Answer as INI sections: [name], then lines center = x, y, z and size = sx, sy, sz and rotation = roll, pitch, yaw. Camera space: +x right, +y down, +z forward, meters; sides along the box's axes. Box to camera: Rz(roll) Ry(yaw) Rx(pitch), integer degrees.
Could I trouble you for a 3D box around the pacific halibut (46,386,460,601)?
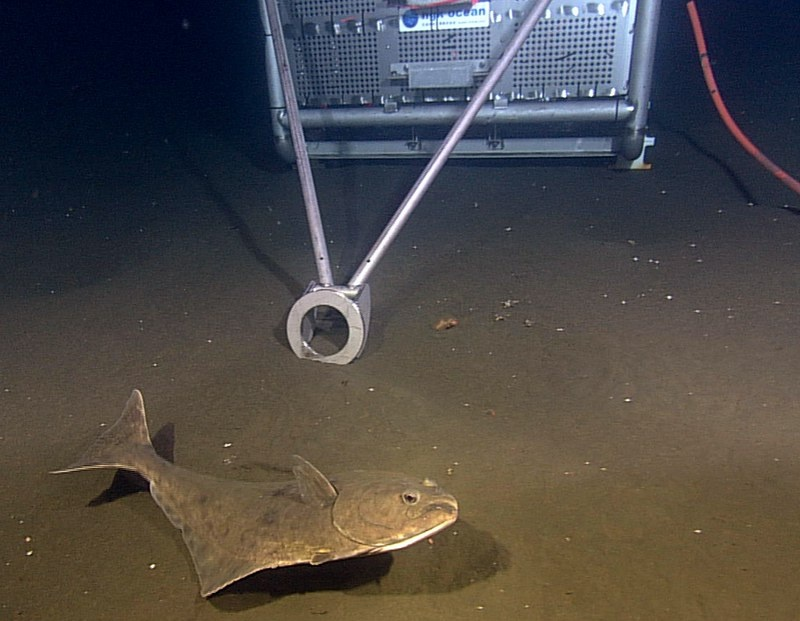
[pacific halibut]
center = -0.271, 0.322, 1.314
size = 0.885, 0.091, 0.320
rotation = 5, 43, 32
